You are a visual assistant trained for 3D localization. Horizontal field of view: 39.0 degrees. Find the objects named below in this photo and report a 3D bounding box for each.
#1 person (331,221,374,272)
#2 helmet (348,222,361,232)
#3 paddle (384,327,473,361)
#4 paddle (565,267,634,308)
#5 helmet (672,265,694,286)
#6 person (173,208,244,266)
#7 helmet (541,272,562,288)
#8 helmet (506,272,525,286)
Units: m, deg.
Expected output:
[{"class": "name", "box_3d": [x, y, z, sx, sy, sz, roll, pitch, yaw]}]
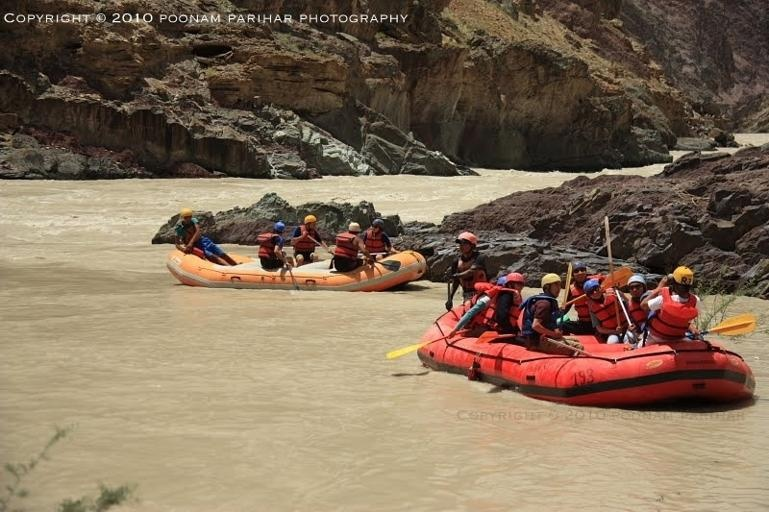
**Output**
[{"class": "person", "box_3d": [-0.854, -0.212, 27.896, 1.005, 1.262, 0.510, 4, 9, -3]}, {"class": "helmet", "box_3d": [-0.834, -0.743, 28.058, 0.335, 0.164, 0.394, -1, 6, -22]}, {"class": "paddle", "box_3d": [0.955, 1.931, 23.478, 2.740, 0.273, 0.189, -14, 7, -23]}, {"class": "paddle", "box_3d": [4.589, 0.685, 24.025, 2.118, 0.448, 0.238, -25, -9, 39]}, {"class": "helmet", "box_3d": [5.941, 0.359, 21.781, 0.424, 0.203, 0.462, 9, 18, 5]}, {"class": "person", "box_3d": [-4.900, -0.493, 28.827, 2.347, 0.942, 1.007, 24, 44, 0]}, {"class": "helmet", "box_3d": [3.417, 0.520, 22.495, 0.315, 0.285, 0.253, 7, 8, 20]}, {"class": "helmet", "box_3d": [2.702, 0.473, 22.963, 0.385, 0.241, 0.305, 5, 7, 9]}]
